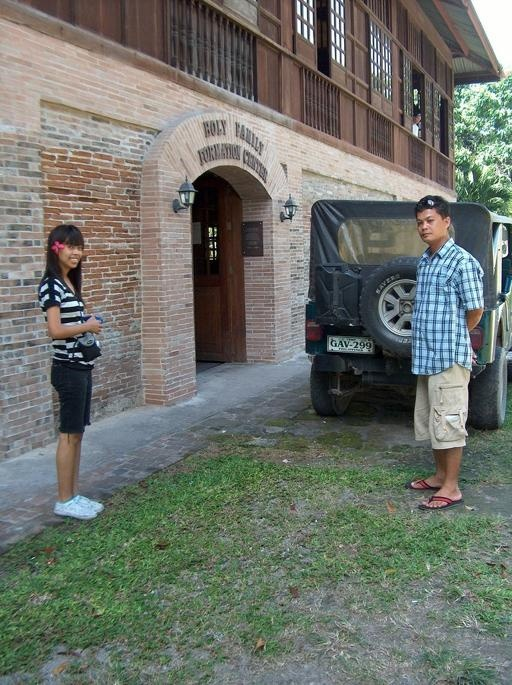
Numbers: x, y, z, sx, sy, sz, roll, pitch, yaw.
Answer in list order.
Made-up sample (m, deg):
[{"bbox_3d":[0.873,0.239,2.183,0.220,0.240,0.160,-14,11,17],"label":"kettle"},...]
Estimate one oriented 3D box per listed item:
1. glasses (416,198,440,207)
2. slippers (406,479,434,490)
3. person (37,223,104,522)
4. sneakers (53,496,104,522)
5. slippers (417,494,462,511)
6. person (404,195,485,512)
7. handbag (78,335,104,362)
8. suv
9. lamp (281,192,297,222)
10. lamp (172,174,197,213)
[{"bbox_3d":[1.195,-0.969,3.389,0.081,0.034,0.089,-18,19,13],"label":"glasses"},{"bbox_3d":[1.265,1.102,3.756,0.210,0.047,0.081,0,9,26],"label":"slippers"},{"bbox_3d":[-1.220,0.226,3.244,0.359,1.973,0.525,-1,2,-19],"label":"person"},{"bbox_3d":[-1.230,1.151,3.397,0.234,0.077,0.168,3,8,-7],"label":"sneakers"},{"bbox_3d":[1.294,1.113,3.412,0.257,0.055,0.109,0,-3,-21],"label":"slippers"},{"bbox_3d":[1.365,0.067,3.508,0.459,2.164,0.462,0,2,17],"label":"person"},{"bbox_3d":[-1.091,0.039,3.211,0.114,0.196,0.167,-1,2,3],"label":"handbag"},{"bbox_3d":[1.978,-0.612,6.075,1.824,1.864,3.265,4,11,28],"label":"suv"},{"bbox_3d":[0.653,-2.690,9.872,0.295,0.512,0.236,0,2,18],"label":"lamp"},{"bbox_3d":[-0.974,-2.074,6.835,0.303,0.562,0.401,0,2,15],"label":"lamp"}]
